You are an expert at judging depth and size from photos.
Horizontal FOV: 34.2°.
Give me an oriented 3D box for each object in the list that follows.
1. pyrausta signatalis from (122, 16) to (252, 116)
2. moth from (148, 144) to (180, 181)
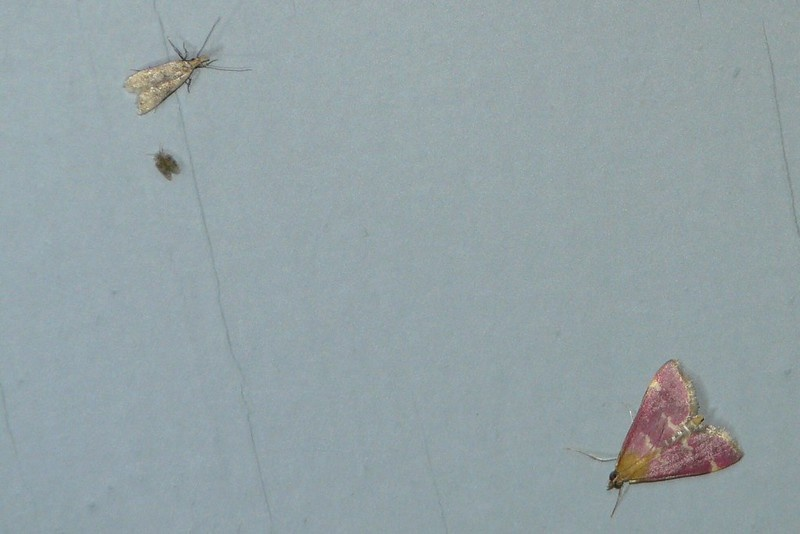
[{"bbox_3d":[-0.651,-0.558,3.685,0.240,0.061,0.193,-26,82,-2],"label":"pyrausta signatalis"},{"bbox_3d":[-0.676,-0.299,3.685,0.059,0.021,0.091,-33,93,8],"label":"moth"}]
